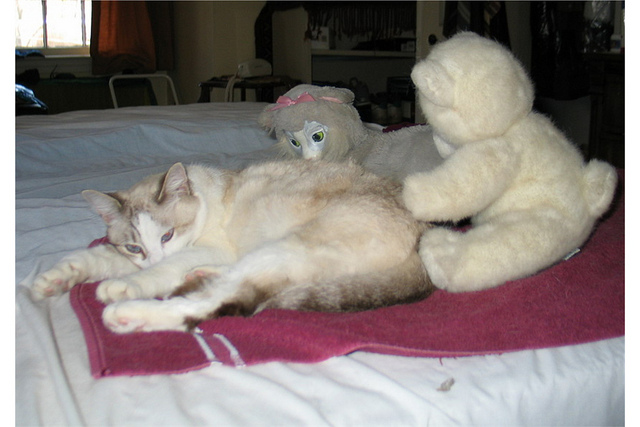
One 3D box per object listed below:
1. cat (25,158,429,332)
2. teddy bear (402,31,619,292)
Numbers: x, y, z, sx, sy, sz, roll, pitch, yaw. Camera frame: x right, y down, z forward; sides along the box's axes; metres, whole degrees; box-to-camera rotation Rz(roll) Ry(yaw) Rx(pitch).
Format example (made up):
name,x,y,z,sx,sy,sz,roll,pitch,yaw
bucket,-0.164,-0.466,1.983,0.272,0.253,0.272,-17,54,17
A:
name,x,y,z,sx,sy,sz,roll,pitch,yaw
cat,-0.167,0.058,1.204,0.609,0.195,0.479,-5,15,-19
teddy bear,0.434,-0.155,1.247,0.459,0.506,0.519,-4,33,16
